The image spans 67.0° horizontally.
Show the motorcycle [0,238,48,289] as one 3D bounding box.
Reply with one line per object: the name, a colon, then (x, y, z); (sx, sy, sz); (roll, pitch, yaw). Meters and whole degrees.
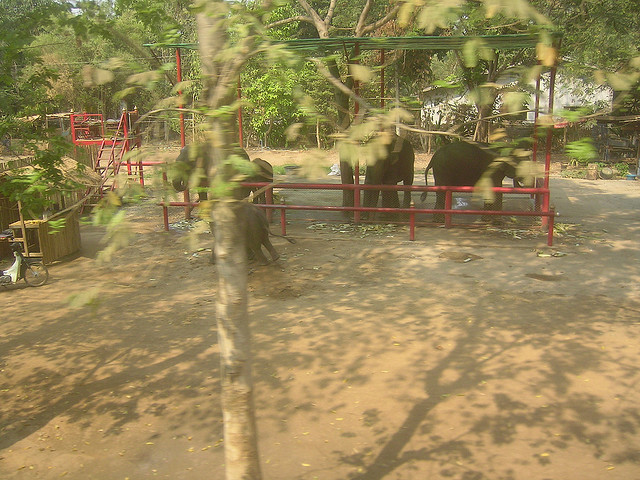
motorcycle: (-5.707, 0.534, 9.309); (0.815, 0.652, 0.976); (-6, 7, -26)
